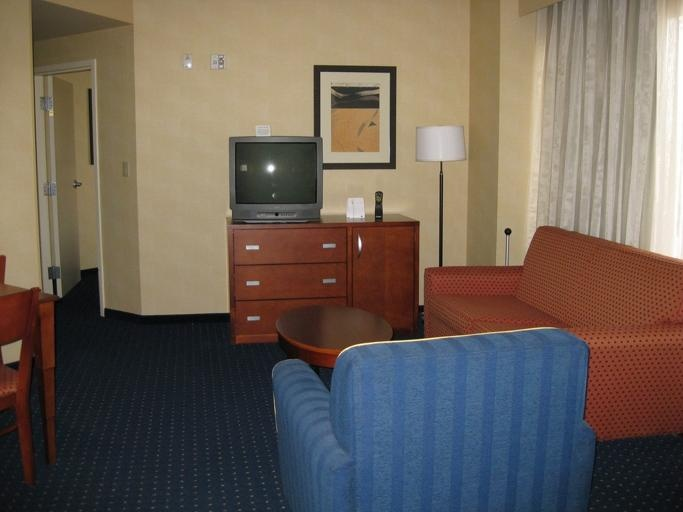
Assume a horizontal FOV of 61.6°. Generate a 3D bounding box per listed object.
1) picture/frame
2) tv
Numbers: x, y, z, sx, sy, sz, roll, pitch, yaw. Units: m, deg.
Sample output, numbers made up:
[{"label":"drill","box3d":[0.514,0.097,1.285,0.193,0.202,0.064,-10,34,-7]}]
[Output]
[{"label":"picture/frame","box3d":[0.098,-1.420,5.699,0.994,1.281,0.046,-1,7,-8]},{"label":"tv","box3d":[-0.608,-0.560,5.563,0.963,0.929,0.723,0,3,-4]}]
